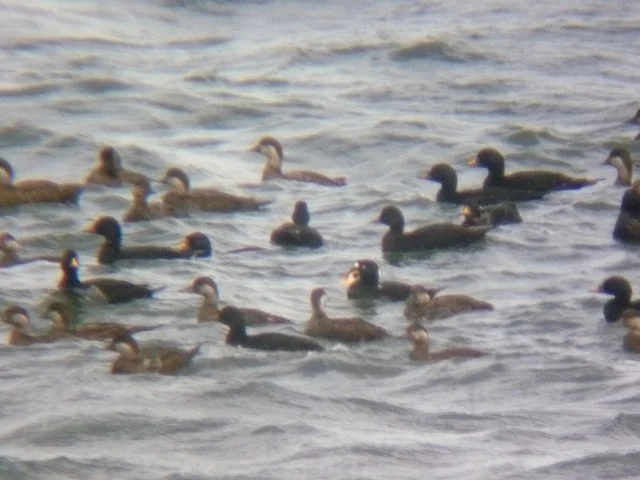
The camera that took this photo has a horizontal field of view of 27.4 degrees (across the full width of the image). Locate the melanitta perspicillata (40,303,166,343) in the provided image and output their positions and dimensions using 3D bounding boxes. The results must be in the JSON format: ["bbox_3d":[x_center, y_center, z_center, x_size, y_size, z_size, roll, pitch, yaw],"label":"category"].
[{"bbox_3d":[-3.783,1.507,23.043,2.408,0.714,0.655,-1,-11,-38],"label":"melanitta perspicillata"}]

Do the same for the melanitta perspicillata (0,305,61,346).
[{"bbox_3d":[-4.949,1.464,22.607,0.867,0.514,0.768,-4,18,-18],"label":"melanitta perspicillata"}]

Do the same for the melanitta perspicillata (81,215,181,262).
[{"bbox_3d":[-3.478,0.037,25.472,2.181,0.767,0.542,5,13,19],"label":"melanitta perspicillata"}]

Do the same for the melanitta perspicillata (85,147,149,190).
[{"bbox_3d":[-4.462,-1.568,28.807,1.656,0.686,0.751,11,17,-13],"label":"melanitta perspicillata"}]
